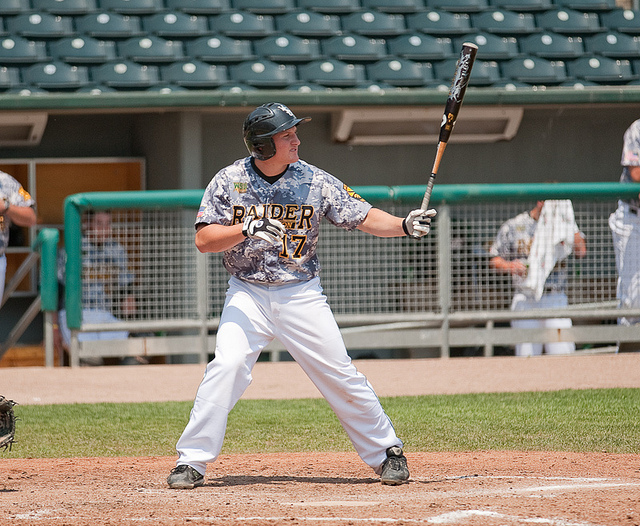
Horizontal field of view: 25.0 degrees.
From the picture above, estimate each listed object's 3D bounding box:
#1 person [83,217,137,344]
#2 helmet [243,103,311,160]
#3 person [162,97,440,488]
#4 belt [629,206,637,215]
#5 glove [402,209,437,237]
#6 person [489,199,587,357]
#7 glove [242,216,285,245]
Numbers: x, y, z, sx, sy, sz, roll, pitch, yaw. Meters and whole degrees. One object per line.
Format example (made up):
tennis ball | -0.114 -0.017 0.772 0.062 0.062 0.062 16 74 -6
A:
person | -1.706 0.167 11.693 0.339 0.849 0.688 3 -2 -6
helmet | -0.295 -0.859 9.109 0.500 0.293 0.349 -6 19 16
person | -0.204 0.186 8.918 1.454 2.289 0.810 -2 12 2
belt | 2.556 -0.435 11.862 0.074 0.044 0.036 13 4 9
glove | 0.613 -0.254 8.927 0.090 0.144 0.189 -21 29 56
person | 1.771 0.125 11.864 0.769 1.272 0.307 -1 13 6
glove | -0.350 -0.186 8.804 0.247 0.184 0.206 0 11 8
